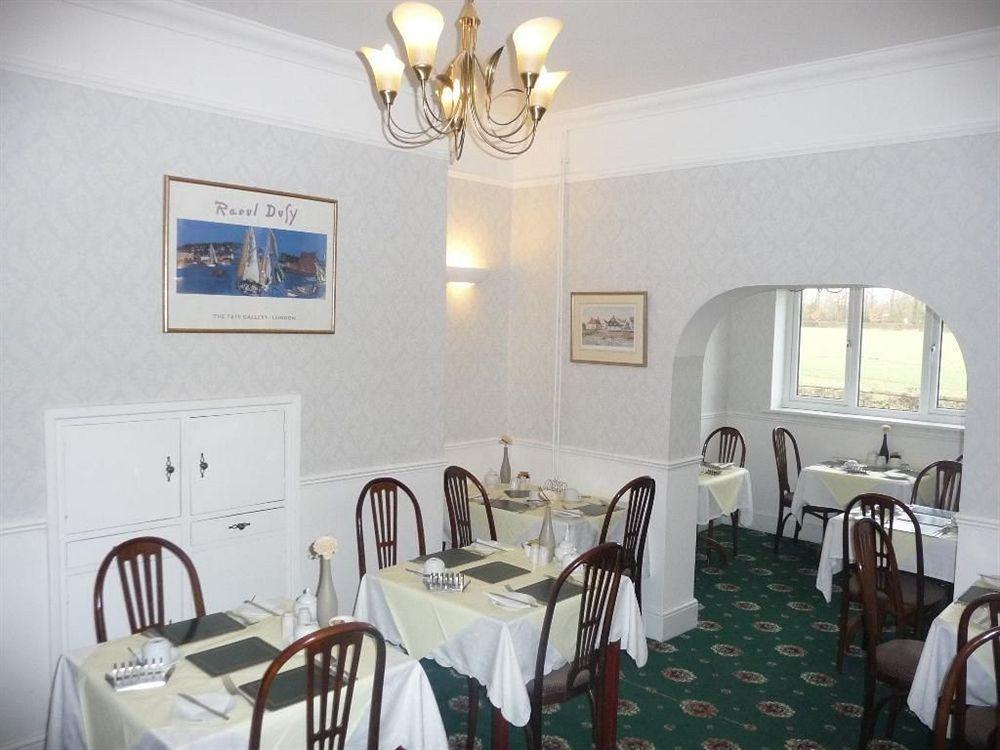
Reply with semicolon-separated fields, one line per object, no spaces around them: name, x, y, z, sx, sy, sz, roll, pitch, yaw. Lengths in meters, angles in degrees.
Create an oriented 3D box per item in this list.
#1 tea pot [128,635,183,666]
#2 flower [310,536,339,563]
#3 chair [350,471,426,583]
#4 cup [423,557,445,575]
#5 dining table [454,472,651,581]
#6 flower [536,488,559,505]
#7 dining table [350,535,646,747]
tea pot;-1.473;1.134;2.840;0.173;0.146;0.141;1;-4;-6
flower;-0.845;0.837;3.243;0.101;0.141;0.235;0;6;-11
chair;-0.809;0.999;4.737;0.548;0.953;0.610;-2;5;-28
cup;-0.351;1.035;3.657;0.079;0.080;0.079;1;10;0
dining table;0.458;0.914;4.990;0.725;0.314;1.208;-5;9;-41
flower;0.403;0.959;5.261;0.139;0.047;0.151;20;-1;-6
dining table;-0.089;1.297;3.425;1.203;1.013;1.220;5;7;42
